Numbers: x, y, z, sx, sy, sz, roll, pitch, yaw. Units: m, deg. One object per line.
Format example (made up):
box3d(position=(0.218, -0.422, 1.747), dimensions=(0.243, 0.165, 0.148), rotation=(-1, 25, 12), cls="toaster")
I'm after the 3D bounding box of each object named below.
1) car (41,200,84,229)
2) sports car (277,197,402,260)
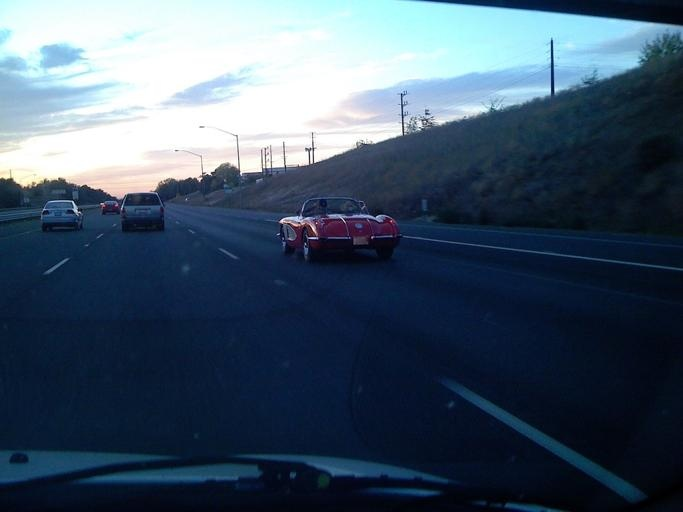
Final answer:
box3d(position=(-15.738, -2.446, 32.830), dimensions=(1.152, 1.036, 3.013), rotation=(-3, 9, -15), cls="car")
box3d(position=(-0.068, -0.757, 15.873), dimensions=(2.249, 1.711, 3.013), rotation=(-4, 8, -24), cls="sports car")
